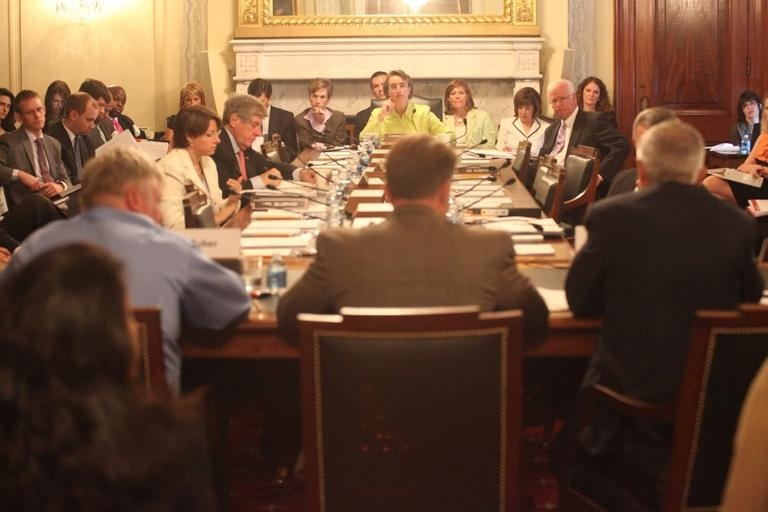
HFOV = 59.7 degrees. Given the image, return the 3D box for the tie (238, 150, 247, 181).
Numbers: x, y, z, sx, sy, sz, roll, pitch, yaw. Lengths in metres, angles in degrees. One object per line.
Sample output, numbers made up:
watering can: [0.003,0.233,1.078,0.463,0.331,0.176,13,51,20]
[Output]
tie: [-1.016,-0.652,4.837,0.056,0.192,0.136,-1,0,12]

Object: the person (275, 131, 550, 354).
person: [0.077,-0.011,1.879,0.753,0.598,0.373,4,15,15]
